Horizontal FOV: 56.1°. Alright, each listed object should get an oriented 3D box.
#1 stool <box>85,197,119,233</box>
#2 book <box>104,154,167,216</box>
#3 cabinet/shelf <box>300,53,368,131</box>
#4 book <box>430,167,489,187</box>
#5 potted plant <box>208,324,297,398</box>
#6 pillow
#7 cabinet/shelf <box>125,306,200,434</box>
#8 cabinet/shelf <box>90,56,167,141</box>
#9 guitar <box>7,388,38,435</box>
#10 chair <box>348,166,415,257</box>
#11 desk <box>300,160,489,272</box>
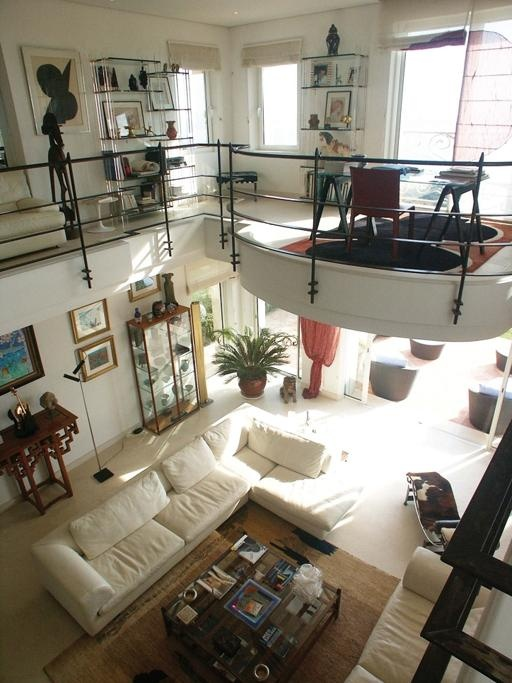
[{"bbox_3d":[-1.945,-1.656,6.132,0.430,0.400,1.310,-8,22,-13],"label":"stool"},{"bbox_3d":[-1.632,-2.084,6.430,0.319,0.918,0.940,15,34,30],"label":"book"},{"bbox_3d":[1.167,-3.636,7.127,0.979,0.911,0.350,19,33,33],"label":"cabinet/shelf"},{"bbox_3d":[1.828,-1.506,4.356,0.421,0.112,0.748,5,23,19],"label":"book"},{"bbox_3d":[-0.077,0.311,8.684,1.307,1.087,1.221,-3,22,1],"label":"potted plant"},{"bbox_3d":[-0.343,1.813,5.544,1.384,0.631,1.979,24,42,30],"label":"pillow"},{"bbox_3d":[-1.487,0.409,7.439,0.532,2.114,1.181,19,34,31],"label":"cabinet/shelf"},{"bbox_3d":[-1.758,-3.304,6.497,0.308,1.032,1.186,14,32,30],"label":"cabinet/shelf"},{"bbox_3d":[-2.761,0.844,5.739,0.176,0.587,0.300,-3,11,36],"label":"guitar"},{"bbox_3d":[0.995,-1.087,4.102,0.441,0.779,1.205,3,22,15],"label":"chair"},{"bbox_3d":[1.245,-0.980,4.343,1.605,0.620,1.704,10,39,21],"label":"desk"}]
